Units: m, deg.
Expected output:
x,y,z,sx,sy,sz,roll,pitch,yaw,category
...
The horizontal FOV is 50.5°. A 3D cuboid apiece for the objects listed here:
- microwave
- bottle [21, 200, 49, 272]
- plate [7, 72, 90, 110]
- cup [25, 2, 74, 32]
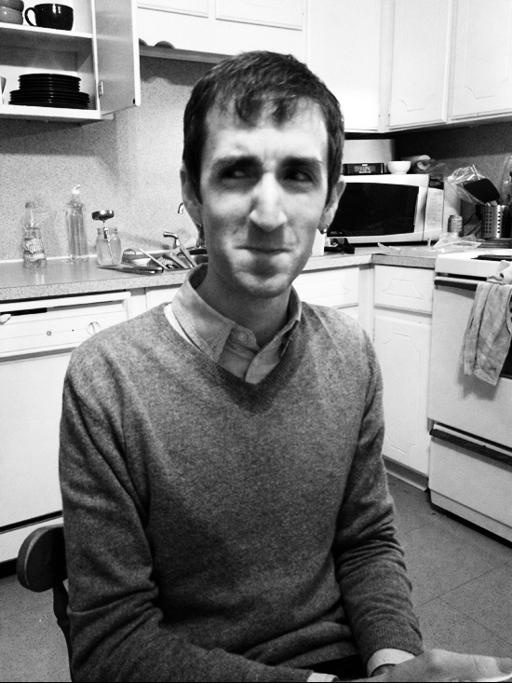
x,y,z,sx,sy,sz,roll,pitch,yaw,category
0.547,-0.550,2.314,0.480,0.356,0.315,-2,15,-7,microwave
-0.849,-0.414,2.069,0.090,0.256,0.385,-4,10,-22,bottle
-0.700,-0.852,1.863,0.164,0.068,0.179,1,19,-2,plate
-0.705,-1.113,1.888,0.166,0.086,0.117,-5,15,-23,cup
